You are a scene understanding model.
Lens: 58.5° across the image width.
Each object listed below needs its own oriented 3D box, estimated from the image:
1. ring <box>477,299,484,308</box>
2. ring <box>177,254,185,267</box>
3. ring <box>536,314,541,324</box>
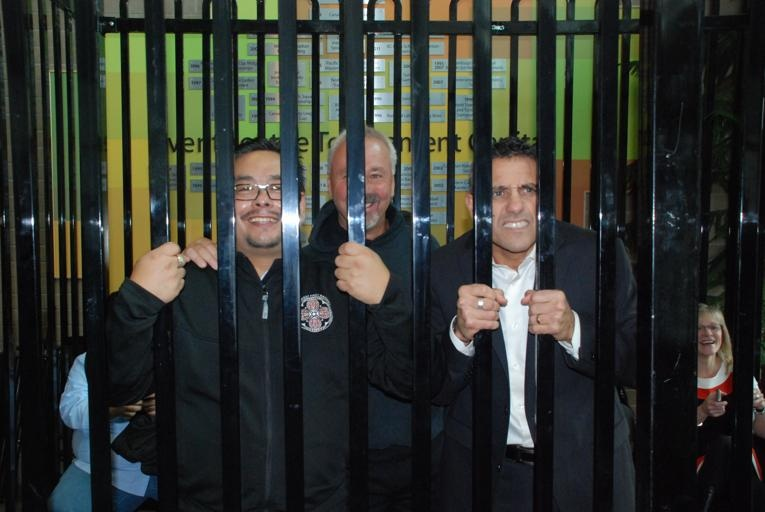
[{"bbox_3d":[0.380,0.182,2.619,0.022,0.031,0.034,4,-1,8],"label":"ring"},{"bbox_3d":[-0.794,0.017,2.697,0.015,0.040,0.031,-11,-10,29],"label":"ring"},{"bbox_3d":[0.607,0.244,2.639,0.018,0.026,0.007,0,3,-14],"label":"ring"}]
